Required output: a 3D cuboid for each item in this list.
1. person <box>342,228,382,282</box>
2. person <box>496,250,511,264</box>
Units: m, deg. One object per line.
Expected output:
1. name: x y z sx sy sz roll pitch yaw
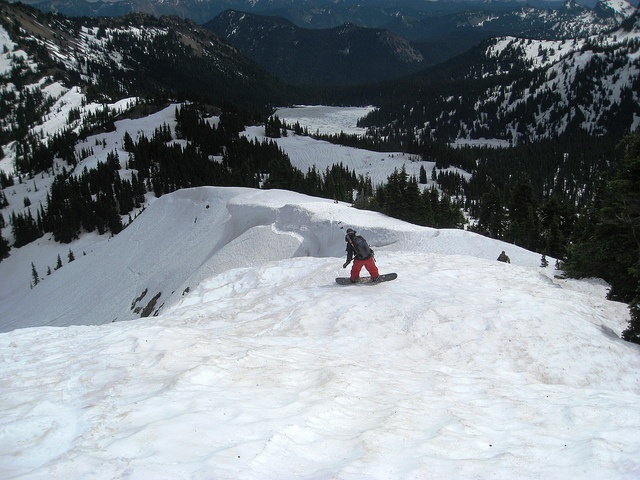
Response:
1. person: 1.801 0.718 24.503 1.403 2.949 1.065 -17 29 -2
2. person: 10.997 0.967 31.969 0.591 1.043 0.332 -6 -9 9
